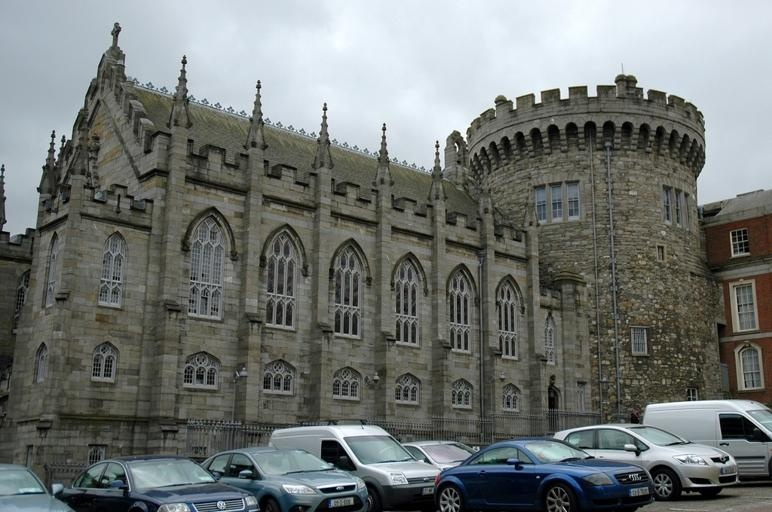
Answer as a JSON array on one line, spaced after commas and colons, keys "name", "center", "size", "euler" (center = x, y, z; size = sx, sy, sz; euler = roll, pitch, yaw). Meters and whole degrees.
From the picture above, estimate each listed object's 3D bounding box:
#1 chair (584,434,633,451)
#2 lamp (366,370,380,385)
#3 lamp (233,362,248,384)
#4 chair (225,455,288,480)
[{"name": "chair", "center": [8.259, 6.888, 32.995], "size": [1.215, 0.543, 0.796], "euler": [-4, -17, 11]}, {"name": "lamp", "center": [-0.739, 6.620, 47.928], "size": [0.664, 0.729, 0.601], "euler": [-10, -19, 28]}, {"name": "lamp", "center": [-7.225, 5.750, 43.618], "size": [0.788, 1.000, 0.981], "euler": [12, -23, -35]}, {"name": "chair", "center": [-4.580, 7.233, 30.292], "size": [1.526, 0.738, 0.925], "euler": [-13, -20, 16]}]
